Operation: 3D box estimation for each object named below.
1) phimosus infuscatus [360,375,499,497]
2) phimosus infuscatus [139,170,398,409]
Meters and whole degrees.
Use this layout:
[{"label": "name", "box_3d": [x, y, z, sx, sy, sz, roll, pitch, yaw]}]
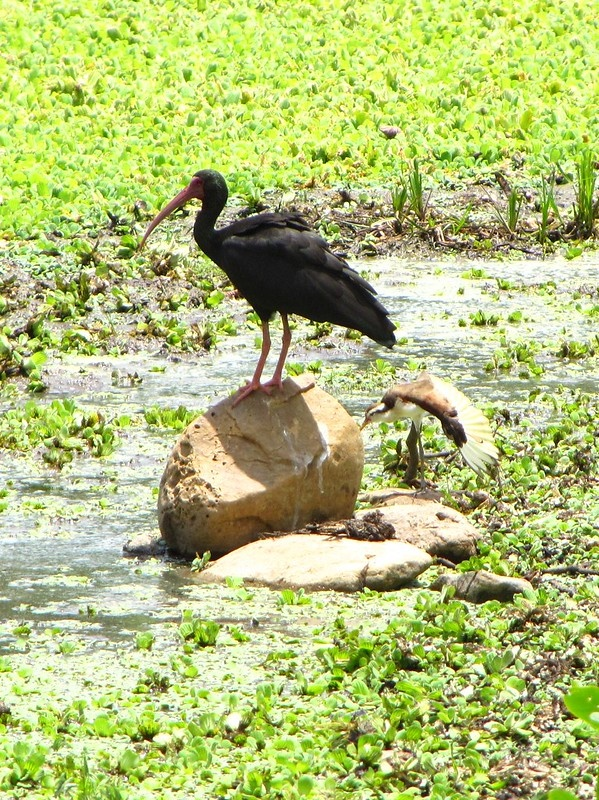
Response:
[{"label": "phimosus infuscatus", "box_3d": [0.770, 0.254, 6.527, 0.470, 0.294, 0.744, -18, 20, 2]}, {"label": "phimosus infuscatus", "box_3d": [-0.138, -0.701, 6.453, 1.819, 1.219, 0.414, 6, 12, 25]}]
